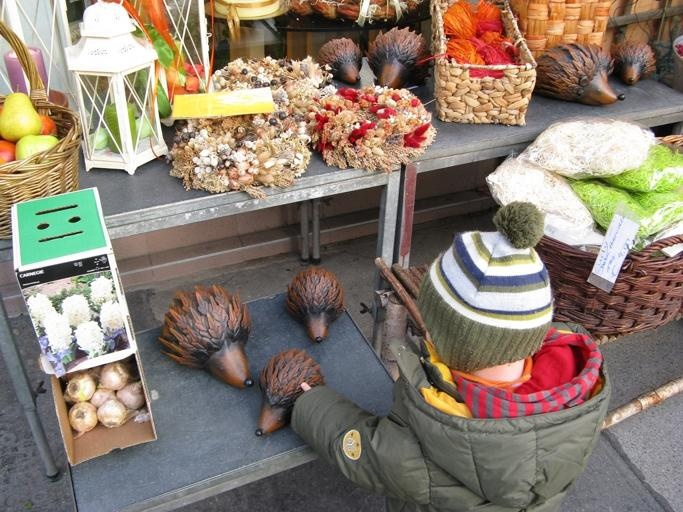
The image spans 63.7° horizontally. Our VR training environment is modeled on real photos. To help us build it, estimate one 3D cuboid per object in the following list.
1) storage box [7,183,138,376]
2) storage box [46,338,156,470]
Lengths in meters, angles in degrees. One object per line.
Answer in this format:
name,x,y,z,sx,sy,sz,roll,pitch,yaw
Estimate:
storage box,-0.632,0.056,1.282,0.231,0.318,0.329,-17,42,-18
storage box,-0.605,0.346,1.341,0.094,0.340,0.288,-22,67,24
